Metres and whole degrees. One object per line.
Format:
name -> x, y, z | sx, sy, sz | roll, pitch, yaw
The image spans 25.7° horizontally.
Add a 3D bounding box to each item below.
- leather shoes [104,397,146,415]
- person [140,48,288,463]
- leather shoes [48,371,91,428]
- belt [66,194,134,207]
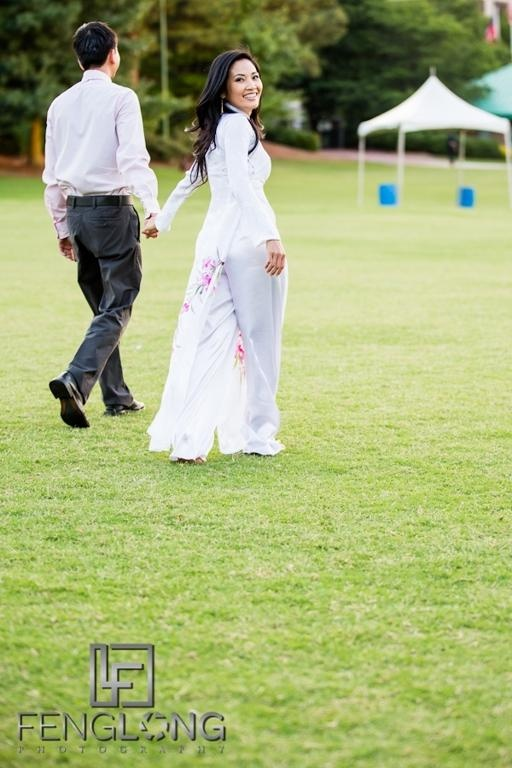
leather shoes -> -0.619, 0.101, 5.164 | 0.066, 0.071, 0.177 | 6, 11, 33
person -> -0.152, -0.467, 4.227 | 0.515, 1.530, 0.395 | 1, 12, 1
leather shoes -> -0.813, 0.076, 4.714 | 0.103, 0.290, 0.135 | -2, 44, 26
belt -> -0.675, -0.777, 4.767 | 0.273, 0.060, 0.139 | -1, 12, -8
